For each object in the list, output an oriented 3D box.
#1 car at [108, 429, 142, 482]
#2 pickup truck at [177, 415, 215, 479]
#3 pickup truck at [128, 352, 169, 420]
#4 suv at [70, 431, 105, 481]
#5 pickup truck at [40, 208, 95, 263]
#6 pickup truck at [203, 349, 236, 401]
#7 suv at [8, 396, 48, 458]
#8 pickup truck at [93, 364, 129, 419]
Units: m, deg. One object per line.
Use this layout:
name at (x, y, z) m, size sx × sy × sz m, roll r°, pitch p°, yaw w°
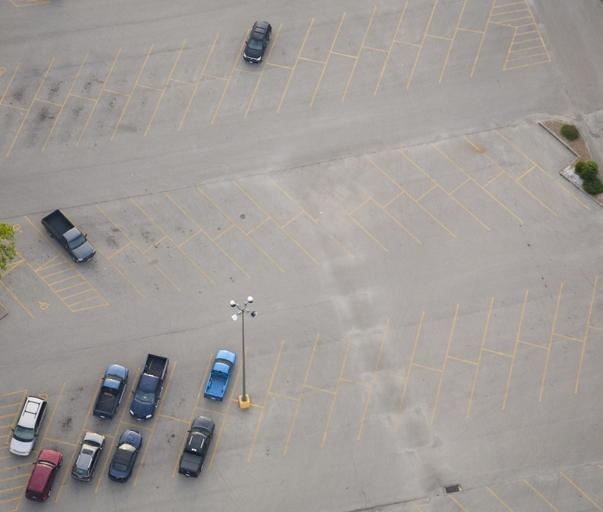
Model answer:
car at (-14.676, 16.647, 160.988) m, size 2.772 × 3.818 × 2.228 m, roll -3°, pitch 15°, yaw -9°
pickup truck at (-8.654, 15.646, 161.303) m, size 2.054 × 4.958 × 1.625 m, roll 14°, pitch -18°, yaw 10°
pickup truck at (-12.792, 10.925, 162.936) m, size 2.305 × 5.714 × 1.872 m, roll 12°, pitch -28°, yaw 4°
suv at (-17.614, 16.509, 160.561) m, size 2.117 × 3.857 × 1.147 m, roll 11°, pitch -30°, yaw -7°
pickup truck at (-20.046, -1.443, 167.491) m, size 6.155 × 2.760 × 2.158 m, roll 50°, pitch -17°, yaw -6°
pickup truck at (-6.839, 10.104, 163.704) m, size 1.996 × 4.509 × 1.512 m, roll 18°, pitch -7°, yaw 1°
suv at (-22.775, 14.083, 161.522) m, size 2.210 × 5.057 × 1.749 m, roll 14°, pitch -31°, yaw 9°
pickup truck at (-15.975, 11.198, 162.472) m, size 2.041 × 4.520 × 1.622 m, roll 15°, pitch -23°, yaw 3°
